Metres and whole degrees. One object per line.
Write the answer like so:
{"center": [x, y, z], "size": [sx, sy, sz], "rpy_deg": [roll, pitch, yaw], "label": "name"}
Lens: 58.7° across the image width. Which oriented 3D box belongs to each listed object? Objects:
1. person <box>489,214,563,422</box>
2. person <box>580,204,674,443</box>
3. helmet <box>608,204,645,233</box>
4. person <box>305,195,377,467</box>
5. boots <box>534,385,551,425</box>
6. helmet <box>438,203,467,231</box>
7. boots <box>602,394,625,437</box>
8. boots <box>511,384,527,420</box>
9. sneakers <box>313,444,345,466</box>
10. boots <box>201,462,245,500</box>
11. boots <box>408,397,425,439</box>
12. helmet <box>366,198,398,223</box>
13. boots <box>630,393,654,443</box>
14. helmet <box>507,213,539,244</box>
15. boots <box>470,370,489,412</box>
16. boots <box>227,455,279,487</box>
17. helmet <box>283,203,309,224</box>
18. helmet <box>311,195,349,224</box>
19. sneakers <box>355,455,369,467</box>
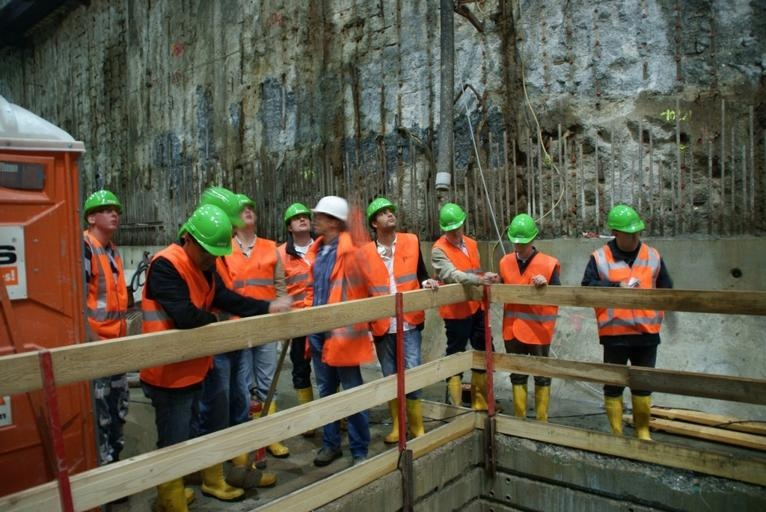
{"center": [1.951, 0.855, 9.028], "size": [0.768, 2.811, 1.141], "rpy_deg": [-3, 2, 11], "label": "person"}
{"center": [3.137, 0.925, 8.660], "size": [0.988, 3.087, 1.007], "rpy_deg": [-1, 3, 18], "label": "person"}
{"center": [3.082, -0.457, 8.650], "size": [0.322, 0.238, 0.429], "rpy_deg": [-23, 25, -21], "label": "helmet"}
{"center": [-0.565, 0.918, 8.457], "size": [0.701, 2.258, 1.148], "rpy_deg": [-4, 2, -30], "label": "person"}
{"center": [2.074, 1.923, 8.891], "size": [0.168, 0.500, 0.265], "rpy_deg": [-3, 2, 9], "label": "boots"}
{"center": [0.952, -0.534, 9.498], "size": [0.312, 0.376, 0.292], "rpy_deg": [-3, 2, 5], "label": "helmet"}
{"center": [2.935, 2.005, 8.672], "size": [0.203, 0.528, 0.630], "rpy_deg": [-3, 2, 17], "label": "boots"}
{"center": [1.804, 1.888, 9.009], "size": [0.160, 0.426, 0.338], "rpy_deg": [-3, 2, 6], "label": "boots"}
{"center": [-0.685, 2.500, 8.497], "size": [0.377, 0.195, 0.156], "rpy_deg": [7, -13, -38], "label": "sneakers"}
{"center": [-1.897, 2.639, 8.037], "size": [0.629, 0.511, 0.275], "rpy_deg": [1, 0, -4], "label": "boots"}
{"center": [0.394, 2.041, 8.606], "size": [0.189, 0.539, 0.251], "rpy_deg": [-3, 2, 5], "label": "boots"}
{"center": [-0.006, -0.710, 9.136], "size": [0.412, 0.220, 0.319], "rpy_deg": [-31, -10, -33], "label": "helmet"}
{"center": [3.236, 1.997, 8.543], "size": [0.198, 0.583, 0.314], "rpy_deg": [-2, 2, 23], "label": "boots"}
{"center": [1.902, -0.358, 9.211], "size": [0.330, 0.272, 0.474], "rpy_deg": [7, 23, 23], "label": "helmet"}
{"center": [1.310, 1.826, 9.330], "size": [0.187, 0.560, 0.205], "rpy_deg": [-3, 2, -3], "label": "boots"}
{"center": [-1.561, 2.516, 8.162], "size": [0.614, 0.453, 0.221], "rpy_deg": [3, 4, -14], "label": "boots"}
{"center": [-1.282, -0.562, 9.841], "size": [0.320, 0.224, 0.442], "rpy_deg": [-27, -1, -24], "label": "helmet"}
{"center": [-0.633, -0.564, 8.489], "size": [0.364, 0.205, 0.282], "rpy_deg": [20, 7, 0], "label": "helmet"}
{"center": [-0.283, 2.406, 8.019], "size": [0.092, 0.117, 0.262], "rpy_deg": [-3, -7, 11], "label": "sneakers"}
